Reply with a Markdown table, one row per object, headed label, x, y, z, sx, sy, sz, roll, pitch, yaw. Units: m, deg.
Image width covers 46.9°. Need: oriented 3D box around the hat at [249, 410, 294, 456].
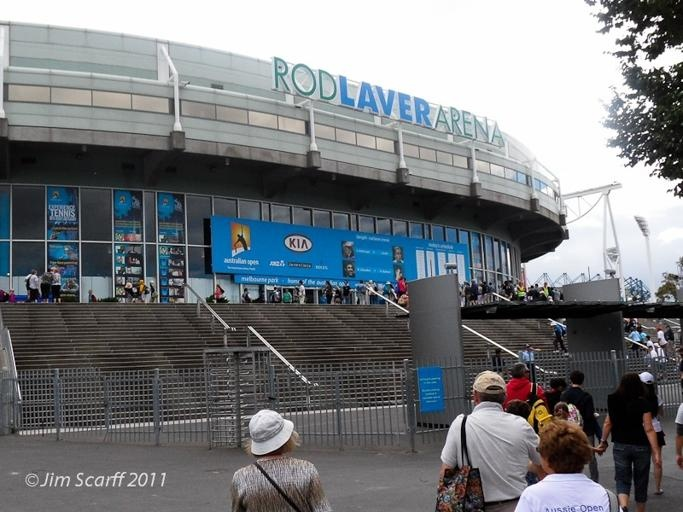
| label | x | y | z | sx | sy | sz | roll | pitch | yaw |
| --- | --- | --- | --- | --- | --- | --- | --- | --- | --- |
| hat | -0.663 | 1.632 | 7.410 | 0.370 | 0.229 | 0.418 | -14 | 34 | 11 |
